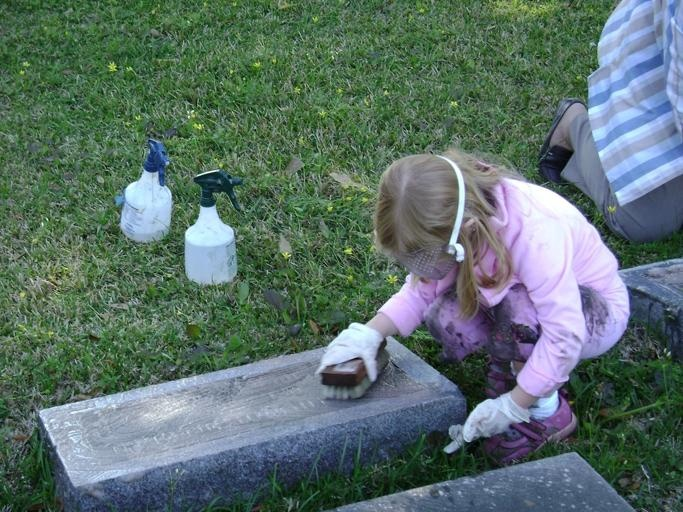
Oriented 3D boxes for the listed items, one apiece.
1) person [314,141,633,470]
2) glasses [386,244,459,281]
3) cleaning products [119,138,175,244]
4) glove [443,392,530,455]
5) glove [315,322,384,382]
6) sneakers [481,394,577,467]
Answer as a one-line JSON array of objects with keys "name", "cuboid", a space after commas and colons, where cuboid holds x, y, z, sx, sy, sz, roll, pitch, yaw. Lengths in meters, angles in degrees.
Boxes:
[{"name": "person", "cuboid": [0.615, 0.262, 3.327, 1.371, 1.624, 1.008, -10, 22, -2]}, {"name": "glasses", "cuboid": [0.358, 0.007, 3.046, 0.224, 0.144, 0.232, -7, 21, -21]}, {"name": "cleaning products", "cuboid": [-1.182, -0.377, 4.238, 0.294, 0.699, 0.282, 28, 40, 17]}, {"name": "glove", "cuboid": [0.653, 0.760, 3.150, 0.316, 0.185, 0.324, -3, 22, -19]}, {"name": "glove", "cuboid": [0.041, 0.456, 3.280, 0.217, 0.136, 0.392, 7, 23, 4]}, {"name": "sneakers", "cuboid": [0.855, 0.820, 3.264, 0.506, 0.226, 0.198, -25, 35, 4]}]
